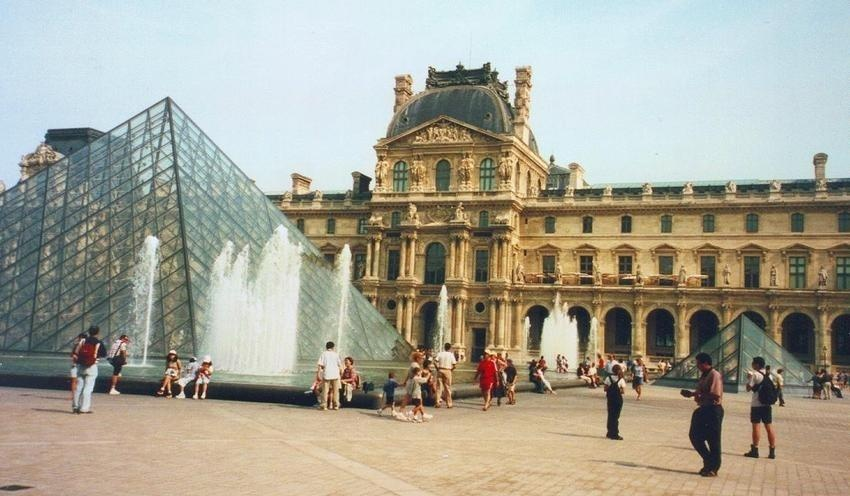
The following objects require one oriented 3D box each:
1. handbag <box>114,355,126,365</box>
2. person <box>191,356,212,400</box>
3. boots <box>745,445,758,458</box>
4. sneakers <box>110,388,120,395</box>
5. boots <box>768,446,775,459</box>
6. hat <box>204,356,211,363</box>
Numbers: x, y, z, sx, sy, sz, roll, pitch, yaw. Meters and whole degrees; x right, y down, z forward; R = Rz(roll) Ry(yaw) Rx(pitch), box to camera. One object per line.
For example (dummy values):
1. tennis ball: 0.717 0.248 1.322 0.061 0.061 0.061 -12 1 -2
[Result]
1. handbag: -12.260 4.505 45.951 0.336 0.391 0.565 -7 -14 38
2. person: -8.964 5.160 45.673 0.647 1.739 0.774 3 -12 -2
3. boots: 11.581 7.243 40.861 0.486 0.442 0.367 -1 -12 14
4. sneakers: -12.464 5.738 45.846 0.397 0.232 0.215 1 -4 -6
5. boots: 12.273 7.227 40.758 0.223 0.496 0.507 -1 -12 17
6. hat: -8.686 4.396 45.670 0.259 0.225 0.320 2 -18 -20
